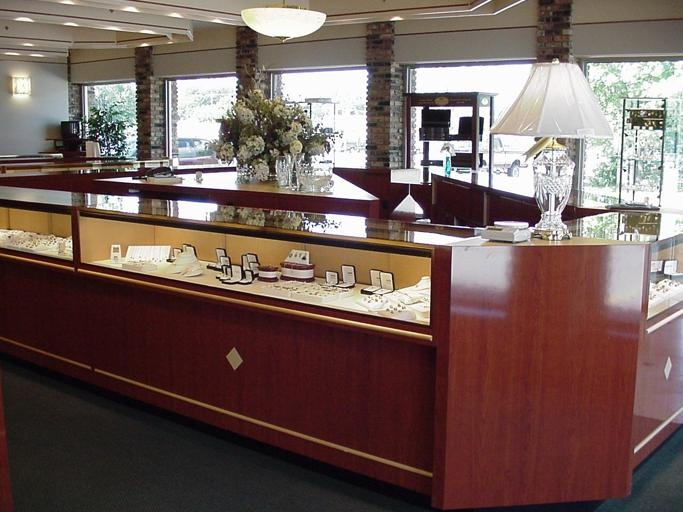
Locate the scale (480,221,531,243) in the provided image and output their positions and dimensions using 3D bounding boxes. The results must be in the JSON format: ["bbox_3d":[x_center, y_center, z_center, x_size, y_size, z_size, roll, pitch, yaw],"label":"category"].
[{"bbox_3d":[0.818,-0.109,2.555,0.307,0.077,0.146,-6,15,-25],"label":"scale"}]

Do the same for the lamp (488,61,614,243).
[{"bbox_3d":[1.007,-0.444,2.778,0.455,0.970,0.518,6,14,11],"label":"lamp"}]

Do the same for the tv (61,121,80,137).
[{"bbox_3d":[-6.509,-3.044,13.202,0.337,0.317,0.441,2,1,36],"label":"tv"}]

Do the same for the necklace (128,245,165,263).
[{"bbox_3d":[-1.292,-0.010,3.598,0.298,0.088,0.132,2,14,6],"label":"necklace"}]

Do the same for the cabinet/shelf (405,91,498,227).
[{"bbox_3d":[1.543,-1.716,8.169,1.391,2.383,0.617,12,16,41],"label":"cabinet/shelf"}]

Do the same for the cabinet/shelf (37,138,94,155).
[{"bbox_3d":[-6.531,-2.580,12.899,0.983,0.484,0.691,0,3,-2],"label":"cabinet/shelf"}]

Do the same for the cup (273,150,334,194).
[{"bbox_3d":[-0.334,-0.750,4.909,0.473,0.289,0.368,-2,14,-9],"label":"cup"}]
